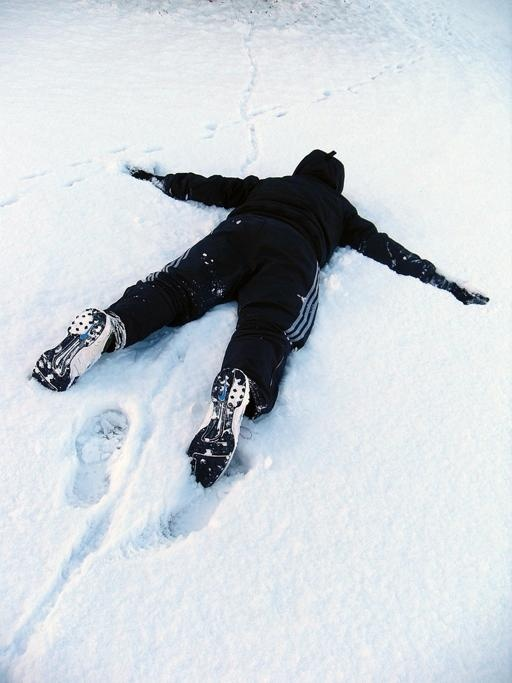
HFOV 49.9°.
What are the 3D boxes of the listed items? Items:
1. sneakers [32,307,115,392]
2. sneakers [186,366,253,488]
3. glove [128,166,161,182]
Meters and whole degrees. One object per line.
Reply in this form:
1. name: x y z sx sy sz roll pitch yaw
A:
1. sneakers: -0.774 0.033 2.483 0.470 0.195 0.230 -41 96 -8
2. sneakers: -0.142 0.349 2.393 0.193 0.196 0.546 16 91 16
3. glove: -0.713 -1.057 3.495 0.154 0.109 0.053 16 98 33
